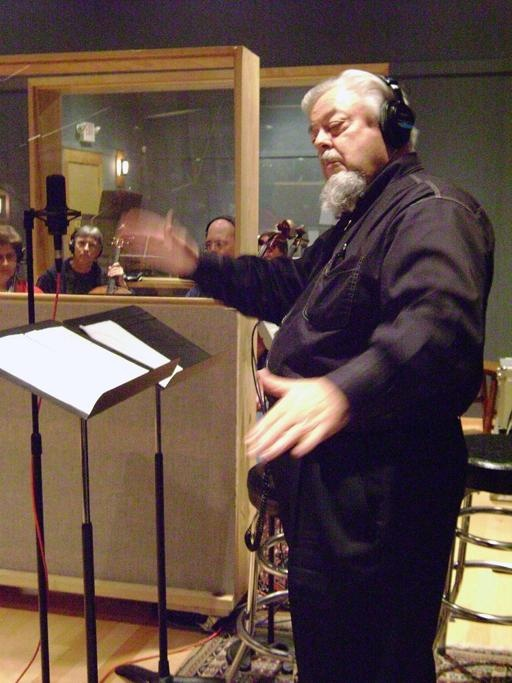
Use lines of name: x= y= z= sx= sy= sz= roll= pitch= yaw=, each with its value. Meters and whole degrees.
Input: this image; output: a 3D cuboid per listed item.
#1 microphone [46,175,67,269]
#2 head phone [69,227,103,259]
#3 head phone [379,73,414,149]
microphone: x=-0.532 y=-0.330 z=1.893 sx=0.056 sy=0.250 sz=0.169 roll=1 pitch=5 yaw=-15
head phone: x=-0.527 y=-0.303 z=2.210 sx=0.100 sy=0.084 sz=0.094 roll=1 pitch=2 yaw=-2
head phone: x=0.309 y=-0.529 z=1.579 sx=0.052 sy=0.125 sz=0.136 roll=-15 pitch=11 yaw=1
